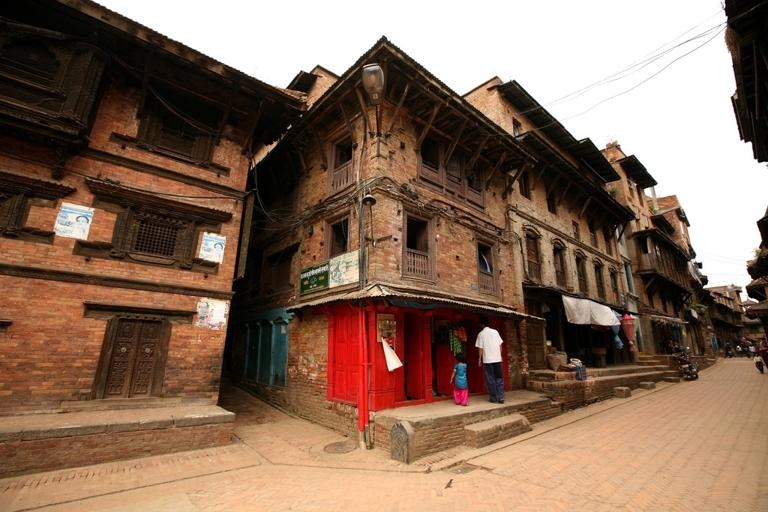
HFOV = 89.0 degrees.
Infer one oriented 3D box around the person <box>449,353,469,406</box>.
[{"bbox_3d":[2.460,4.012,12.751,0.456,1.521,1.005,-4,-1,6],"label":"person"}]
